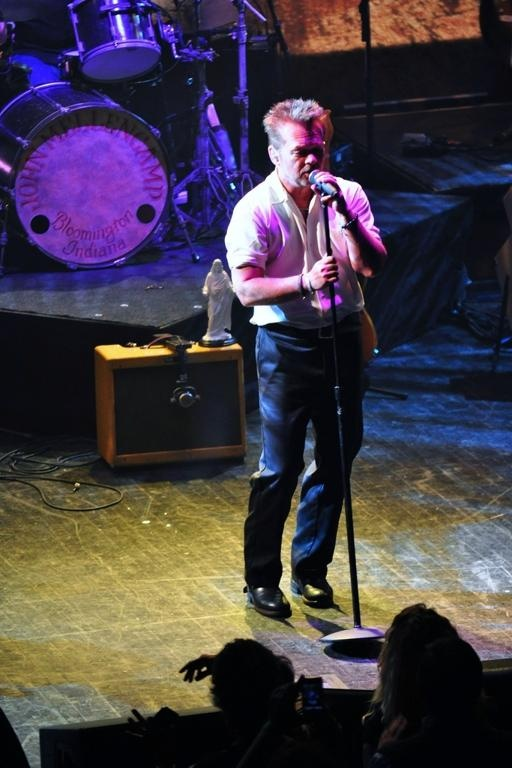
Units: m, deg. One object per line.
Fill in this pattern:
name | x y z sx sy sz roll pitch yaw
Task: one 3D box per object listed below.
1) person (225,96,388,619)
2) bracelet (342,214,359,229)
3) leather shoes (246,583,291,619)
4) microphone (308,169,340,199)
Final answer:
person | 0.182 -0.032 2.718 0.547 2.011 0.511 8 19 30
bracelet | 0.320 -0.548 2.389 0.038 0.015 0.043 8 -26 -37
leather shoes | 0.057 0.887 2.903 0.087 0.080 0.215 -2 3 -34
microphone | 0.220 -0.646 2.277 0.057 0.051 0.179 10 23 -25
